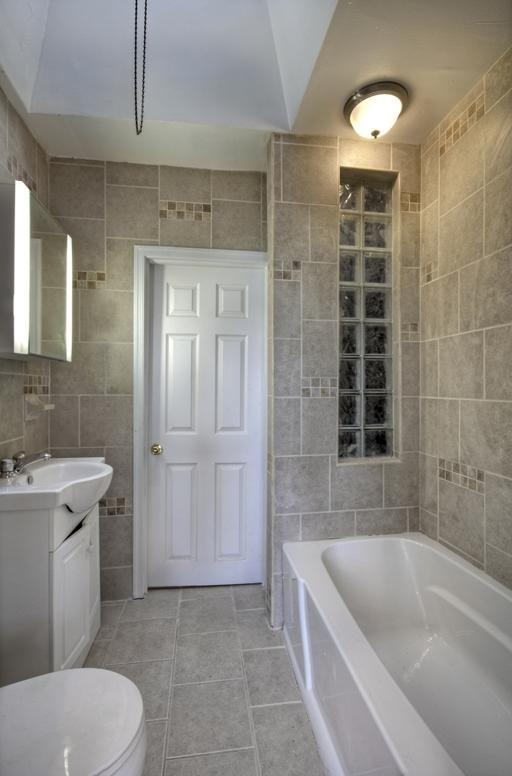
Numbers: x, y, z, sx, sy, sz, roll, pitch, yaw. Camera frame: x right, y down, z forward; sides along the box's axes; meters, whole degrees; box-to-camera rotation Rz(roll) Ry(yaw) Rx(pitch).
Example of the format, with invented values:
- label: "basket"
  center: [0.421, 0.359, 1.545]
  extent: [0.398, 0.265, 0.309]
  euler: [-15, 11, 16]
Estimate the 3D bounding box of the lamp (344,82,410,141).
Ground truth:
- label: "lamp"
  center: [0.435, -0.986, 2.023]
  extent: [0.236, 0.158, 0.188]
  euler: [1, 7, 10]
